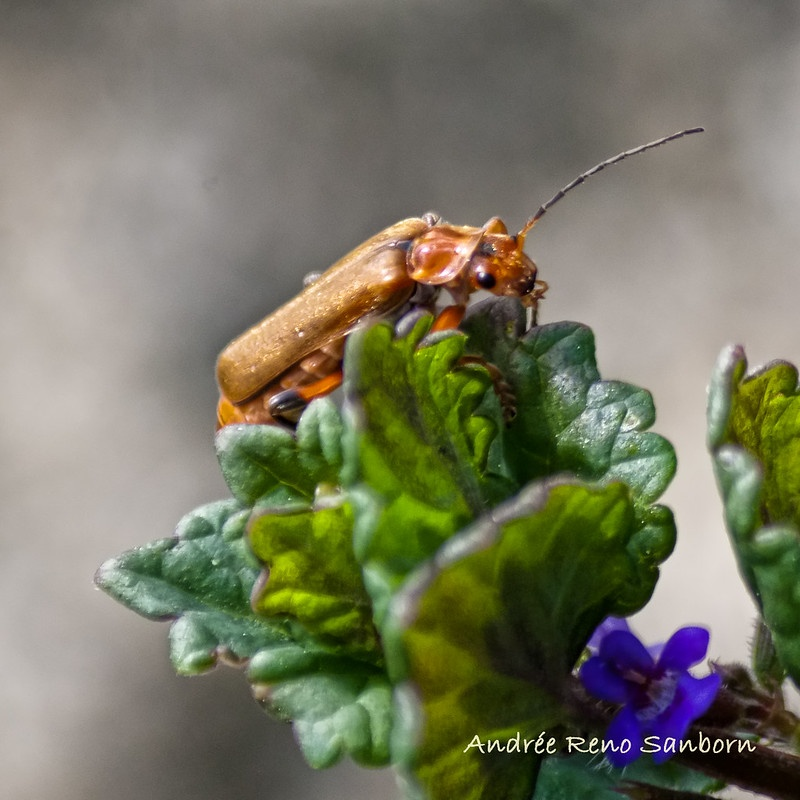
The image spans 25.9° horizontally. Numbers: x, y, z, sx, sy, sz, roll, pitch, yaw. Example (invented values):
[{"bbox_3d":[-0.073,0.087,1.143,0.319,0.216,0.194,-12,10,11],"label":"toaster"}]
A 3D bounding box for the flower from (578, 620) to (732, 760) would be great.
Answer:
[{"bbox_3d":[0.167,0.192,1.160,0.089,0.090,0.054,-16,-19,11],"label":"flower"}]
